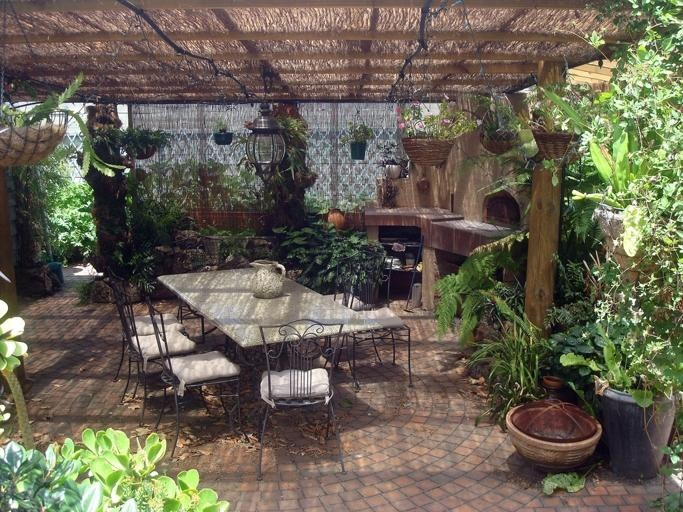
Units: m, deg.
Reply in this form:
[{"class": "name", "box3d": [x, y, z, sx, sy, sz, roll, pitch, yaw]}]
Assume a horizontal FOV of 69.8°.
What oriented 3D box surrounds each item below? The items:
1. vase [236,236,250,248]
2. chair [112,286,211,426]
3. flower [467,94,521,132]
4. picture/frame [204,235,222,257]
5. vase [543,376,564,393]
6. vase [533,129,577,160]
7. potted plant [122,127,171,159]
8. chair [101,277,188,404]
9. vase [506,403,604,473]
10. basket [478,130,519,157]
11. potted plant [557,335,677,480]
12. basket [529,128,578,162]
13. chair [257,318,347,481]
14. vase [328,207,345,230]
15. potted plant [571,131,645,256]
[{"class": "vase", "box3d": [-1.826, -0.289, 9.140, 0.220, 0.174, 0.229, -10, 17, -40]}, {"class": "chair", "box3d": [-1.906, 1.098, 5.207, 0.841, 1.198, 0.758, -11, 30, -31]}, {"class": "flower", "box3d": [1.685, -1.601, 5.436, 0.497, 0.417, 0.445, 1, 12, 10]}, {"class": "picture/frame", "box3d": [-2.481, -0.205, 9.405, 0.368, 0.514, 0.365, 1, -1, -3]}, {"class": "vase", "box3d": [1.864, 1.119, 4.315, 0.133, 0.096, 0.132, -3, 4, -19]}, {"class": "vase", "box3d": [1.772, -0.959, 4.145, 0.313, 0.224, 0.317, 1, 14, 5]}, {"class": "potted plant", "box3d": [-3.611, -2.095, 9.037, 0.619, 0.428, 0.619, -1, 12, -9]}, {"class": "chair", "box3d": [-2.288, 0.989, 5.666, 0.735, 1.044, 0.884, -8, 26, -31]}, {"class": "vase", "box3d": [1.662, 1.369, 3.828, 0.557, 0.374, 0.586, -1, 5, -3]}, {"class": "basket", "box3d": [1.705, -1.243, 5.397, 0.274, 0.192, 0.276, -2, 10, -3]}, {"class": "potted plant", "box3d": [2.106, 1.147, 4.222, 1.183, 1.214, 0.778, 2, 6, 42]}, {"class": "basket", "box3d": [1.769, -0.953, 4.119, 0.409, 0.290, 0.409, -1, 13, -6]}, {"class": "chair", "box3d": [-0.348, 1.042, 4.278, 0.774, 1.201, 1.117, -2, 12, -7]}, {"class": "vase", "box3d": [-0.134, -0.697, 9.148, 0.351, 0.366, 0.296, -10, 15, -39]}, {"class": "potted plant", "box3d": [1.401, -0.329, 2.570, 0.287, 0.649, 0.537, 0, 12, 4]}]
